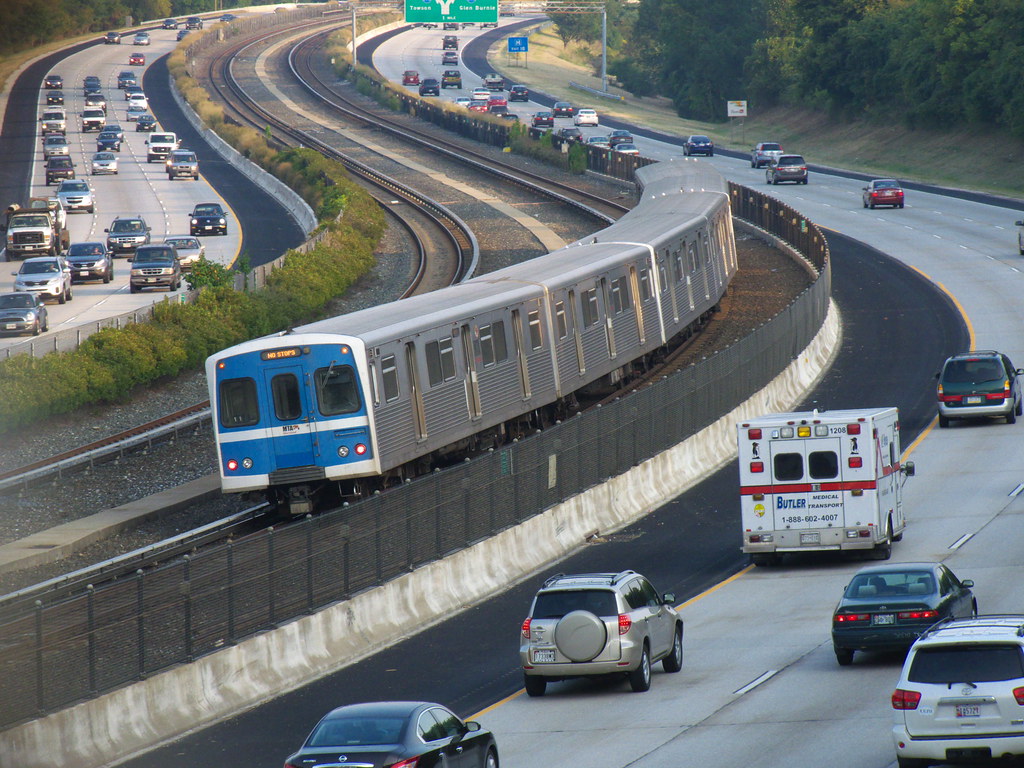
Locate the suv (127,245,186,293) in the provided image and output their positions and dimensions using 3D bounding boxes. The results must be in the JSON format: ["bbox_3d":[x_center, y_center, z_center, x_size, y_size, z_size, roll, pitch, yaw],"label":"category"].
[{"bbox_3d":[-17.026,-5.646,141.446,2.300,2.223,4.760,-1,0,-2],"label":"suv"}]

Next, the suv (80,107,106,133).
[{"bbox_3d":[-28.838,-18.302,202.577,1.555,1.531,1.917,-8,22,-8],"label":"suv"}]

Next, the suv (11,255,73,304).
[{"bbox_3d":[-22.057,-5.054,138.893,2.353,2.084,4.770,0,1,-2],"label":"suv"}]

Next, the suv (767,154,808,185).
[{"bbox_3d":[15.627,-12.488,170.400,2.205,1.667,1.541,-4,22,-1],"label":"suv"}]

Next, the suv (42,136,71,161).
[{"bbox_3d":[-28.134,-14.771,181.742,1.307,1.199,2.948,-2,2,-10],"label":"suv"}]

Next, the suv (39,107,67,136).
[{"bbox_3d":[-30.402,-17.676,195.700,1.335,1.337,2.820,-2,5,-8],"label":"suv"}]

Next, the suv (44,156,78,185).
[{"bbox_3d":[-26.650,-12.681,173.699,1.581,1.556,1.877,-7,22,-7],"label":"suv"}]

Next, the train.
[{"bbox_3d":[1.572,-2.797,128.078,6.833,8.804,46.394,-7,8,26],"label":"train"}]
